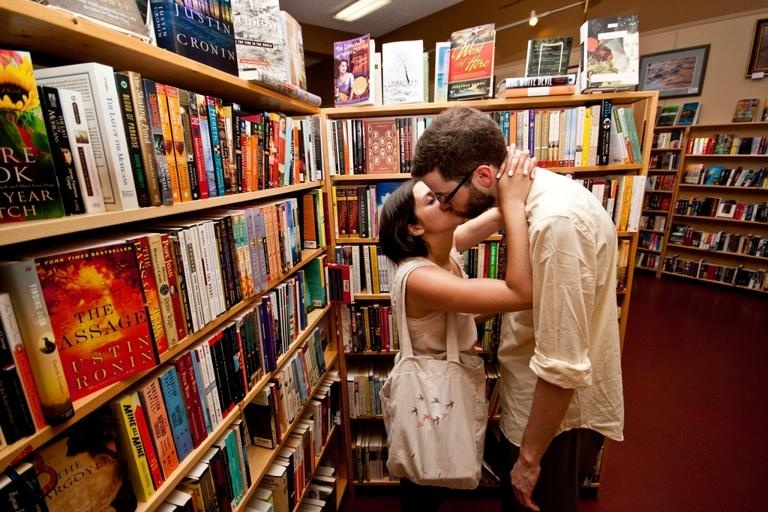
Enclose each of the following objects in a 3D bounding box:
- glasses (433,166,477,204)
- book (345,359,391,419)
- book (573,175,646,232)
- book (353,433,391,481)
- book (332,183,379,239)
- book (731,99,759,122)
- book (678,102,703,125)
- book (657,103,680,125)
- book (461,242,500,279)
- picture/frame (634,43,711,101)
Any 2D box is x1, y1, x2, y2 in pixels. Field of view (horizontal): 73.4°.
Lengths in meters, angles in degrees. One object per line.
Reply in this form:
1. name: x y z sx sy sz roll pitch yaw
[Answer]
1. glasses: 0.294 -0.310 2.263 0.037 0.134 0.131 17 17 27
2. book: -0.075 0.887 3.574 0.316 0.406 0.413 1 12 6
3. book: 1.201 -0.282 2.738 0.356 0.346 0.190 1 17 6
4. book: -0.063 1.340 3.472 0.245 0.318 0.329 -2 -5 3
5. book: -0.166 -0.238 3.328 0.283 0.388 0.380 0 -8 2
6. book: 4.132 -1.668 5.887 0.048 0.349 0.298 -4 7 -40
7. book: 3.783 -1.760 6.377 0.058 0.234 0.254 6 8 -21
8. book: 3.630 -1.805 6.590 0.057 0.233 0.248 1 15 -12
9. book: 0.617 0.006 3.245 0.280 0.269 0.209 -1 3 33
10. picture/frame: 3.490 -2.217 6.253 0.721 0.566 0.436 7 17 29
